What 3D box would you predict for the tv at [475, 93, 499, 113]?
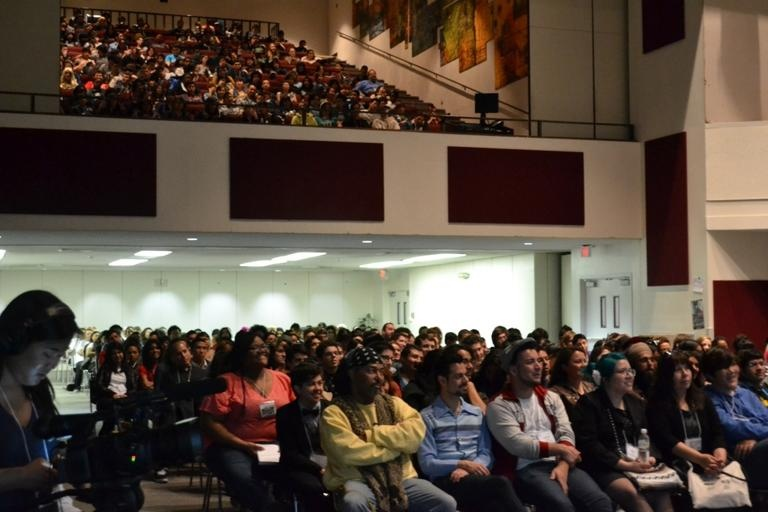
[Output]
[{"bbox_3d":[2.301,-3.429,15.407,0.570,0.490,0.200,0,-6,-3],"label":"tv"}]
